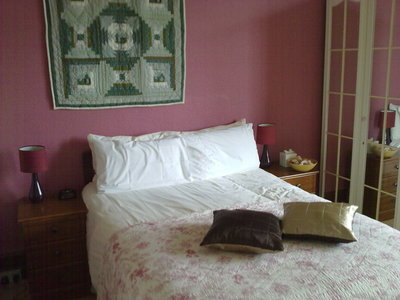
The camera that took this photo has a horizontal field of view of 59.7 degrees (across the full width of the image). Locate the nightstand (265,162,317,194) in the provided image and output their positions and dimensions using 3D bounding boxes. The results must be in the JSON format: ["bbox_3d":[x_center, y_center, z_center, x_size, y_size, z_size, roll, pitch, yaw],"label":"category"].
[{"bbox_3d":[1.058,0.300,4.059,0.482,0.512,0.344,-7,12,-33],"label":"nightstand"}]

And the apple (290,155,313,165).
[{"bbox_3d":[1.176,0.130,4.082,0.143,0.062,0.154,0,6,-8],"label":"apple"}]

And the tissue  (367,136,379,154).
[{"bbox_3d":[1.898,-0.038,3.790,0.109,0.115,0.132,3,3,28],"label":"tissue "}]

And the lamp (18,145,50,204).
[{"bbox_3d":[-1.549,0.222,3.278,0.231,0.512,0.281,-9,13,-25],"label":"lamp"}]
